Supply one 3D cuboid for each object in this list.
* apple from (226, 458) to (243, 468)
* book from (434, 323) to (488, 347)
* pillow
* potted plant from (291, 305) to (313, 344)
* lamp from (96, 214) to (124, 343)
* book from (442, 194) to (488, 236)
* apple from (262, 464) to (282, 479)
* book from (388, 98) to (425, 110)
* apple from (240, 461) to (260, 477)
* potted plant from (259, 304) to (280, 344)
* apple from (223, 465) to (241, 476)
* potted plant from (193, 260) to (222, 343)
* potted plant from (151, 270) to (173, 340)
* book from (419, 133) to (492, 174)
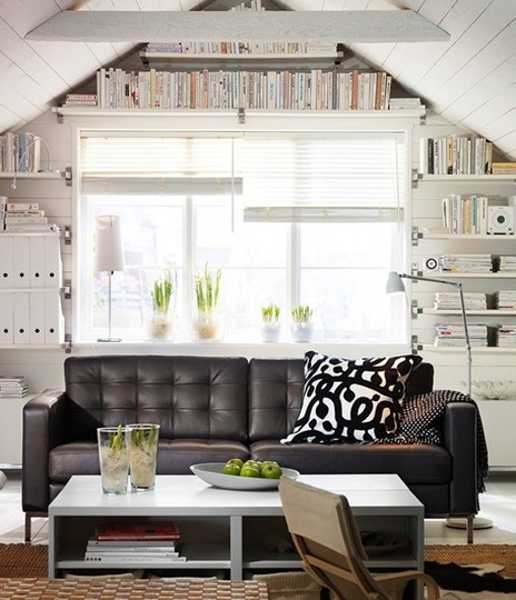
[{"bbox_3d":[-0.095,0.645,2.702,0.062,0.049,0.057,0,-7,11],"label":"apple"},{"bbox_3d":[1.392,0.252,4.532,0.269,0.113,0.185,0,-4,6],"label":"book"},{"bbox_3d":[0.539,0.470,3.588,0.952,0.635,0.435,-1,-14,18],"label":"pillow"},{"bbox_3d":[0.300,0.174,4.769,0.177,0.251,0.117,1,1,22],"label":"potted plant"},{"bbox_3d":[-1.050,-0.142,4.708,0.180,0.864,0.432,0,1,-13],"label":"lamp"},{"bbox_3d":[1.415,-0.550,4.750,0.400,0.331,0.271,0,-2,-4],"label":"book"},{"bbox_3d":[0.049,0.661,2.596,0.058,0.053,0.059,-7,-18,43],"label":"apple"},{"bbox_3d":[1.033,-1.368,4.665,0.142,0.041,0.130,0,5,-3],"label":"book"},{"bbox_3d":[-0.029,0.660,2.620,0.056,0.044,0.052,0,5,2],"label":"apple"},{"bbox_3d":[0.086,0.166,4.751,0.128,0.267,0.110,0,1,-13],"label":"potted plant"},{"bbox_3d":[-0.103,0.661,2.613,0.043,0.034,0.040,3,-5,0],"label":"apple"},{"bbox_3d":[-0.357,0.018,4.791,0.198,0.525,0.318,0,1,-5],"label":"potted plant"},{"bbox_3d":[-0.677,0.071,4.682,0.135,0.404,0.133,0,1,-5],"label":"potted plant"},{"bbox_3d":[1.381,-0.999,4.659,0.481,0.273,0.068,0,1,1],"label":"book"}]
